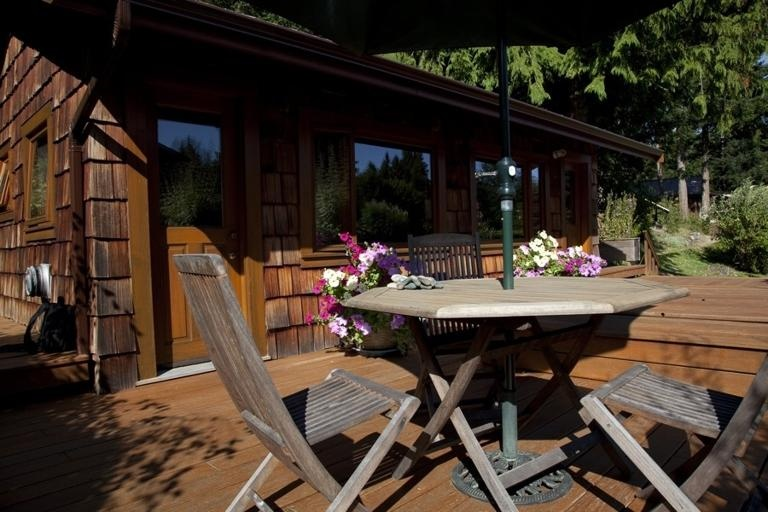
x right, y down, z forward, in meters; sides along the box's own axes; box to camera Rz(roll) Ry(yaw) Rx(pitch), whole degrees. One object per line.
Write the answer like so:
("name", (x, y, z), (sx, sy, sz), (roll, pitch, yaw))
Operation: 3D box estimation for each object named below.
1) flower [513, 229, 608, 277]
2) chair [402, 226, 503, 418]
("flower", (2.300, 0.004, 6.596), (0.949, 0.637, 1.001), (6, 16, 2))
("chair", (0.577, 0.513, 4.329), (0.693, 1.504, 0.702), (-11, 2, -16))
